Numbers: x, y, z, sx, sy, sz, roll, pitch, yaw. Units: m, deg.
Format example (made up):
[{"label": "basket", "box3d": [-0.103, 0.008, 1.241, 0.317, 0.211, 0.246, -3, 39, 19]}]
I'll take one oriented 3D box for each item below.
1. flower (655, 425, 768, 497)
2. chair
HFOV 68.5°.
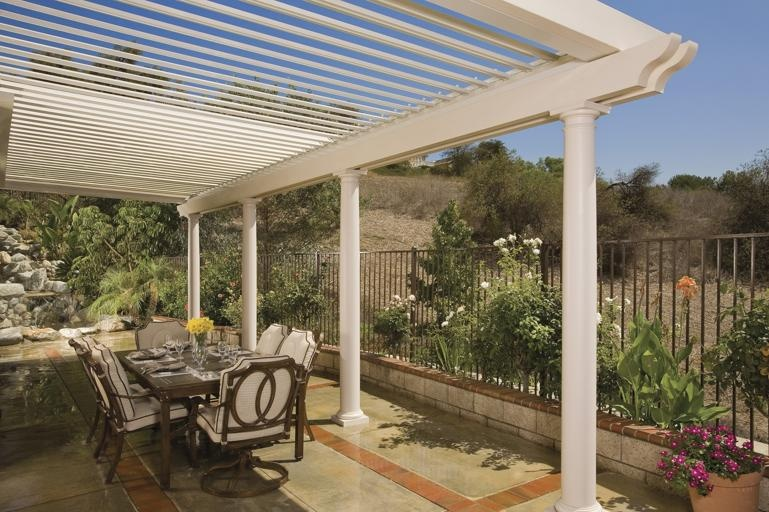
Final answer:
[{"label": "flower", "box3d": [3.182, 1.951, 5.554, 0.711, 0.545, 0.776, -11, 12, -14]}, {"label": "chair", "box3d": [-2.041, 1.726, 6.807, 2.371, 1.559, 1.701, -1, 6, 2]}]
